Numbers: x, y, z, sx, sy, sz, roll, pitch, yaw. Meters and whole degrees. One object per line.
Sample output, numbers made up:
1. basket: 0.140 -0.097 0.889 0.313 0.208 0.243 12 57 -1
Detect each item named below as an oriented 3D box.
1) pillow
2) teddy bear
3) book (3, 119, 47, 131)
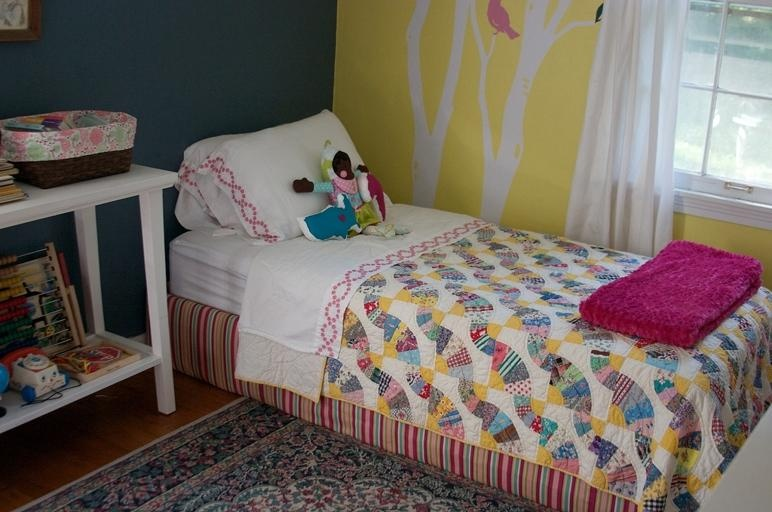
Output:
1. pillow: -0.649 -0.445 3.363 0.770 0.640 0.238 -20 -5 -37
2. teddy bear: -0.205 -0.297 3.339 0.548 0.511 0.659 14 27 33
3. book: -1.552 -0.562 2.615 0.221 0.036 0.093 11 28 21
